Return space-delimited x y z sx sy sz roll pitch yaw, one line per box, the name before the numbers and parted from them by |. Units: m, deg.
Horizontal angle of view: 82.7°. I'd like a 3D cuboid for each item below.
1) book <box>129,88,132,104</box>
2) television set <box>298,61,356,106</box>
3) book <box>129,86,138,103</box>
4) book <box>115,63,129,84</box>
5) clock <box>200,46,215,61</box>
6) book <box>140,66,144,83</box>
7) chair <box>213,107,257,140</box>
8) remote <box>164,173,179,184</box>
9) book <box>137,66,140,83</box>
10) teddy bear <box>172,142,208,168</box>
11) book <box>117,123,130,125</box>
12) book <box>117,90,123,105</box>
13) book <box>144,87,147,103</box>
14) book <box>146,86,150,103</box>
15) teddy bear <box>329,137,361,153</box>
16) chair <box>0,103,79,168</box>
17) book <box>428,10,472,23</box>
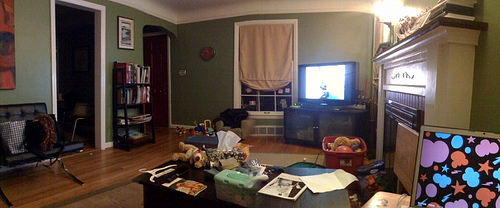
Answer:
book | -3.369 -0.236 8.005 0.049 0.424 0.103 1 7 25
television set | 2.093 -0.563 8.223 2.383 1.319 0.283 -3 7 -35
book | -3.259 -0.271 8.041 0.099 0.439 0.152 2 8 36
book | -3.526 -0.857 7.855 0.354 0.567 0.105 -1 7 6
clock | -1.372 -1.654 9.193 0.469 0.473 0.042 0 7 15
book | -3.087 -0.836 8.083 0.051 0.430 0.131 3 8 40
chair | -0.441 0.582 8.758 1.154 0.830 0.829 1 16 25
remote | -1.496 1.406 5.414 0.276 0.122 0.106 -3 6 -17
book | -3.162 -0.842 8.066 0.088 0.445 0.149 -3 6 -10
teddy bear | -1.215 1.025 5.872 0.712 0.324 0.834 4 25 -26
book | -3.546 0.546 7.953 0.341 0.050 0.078 -1 6 5
book | -3.635 -0.206 7.947 0.218 0.395 0.079 1 7 29
book | -3.011 -0.281 8.183 0.112 0.438 0.030 -8 9 -43
book | -2.960 -0.283 8.235 0.117 0.469 0.123 -4 7 -17
teddy bear | 2.195 0.917 6.572 0.568 0.147 0.357 -1 3 8
chair | -5.000 0.744 6.720 1.378 1.538 1.025 -5 7 -29
book | 3.614 -1.581 5.113 0.438 0.077 0.338 -2 4 -12
